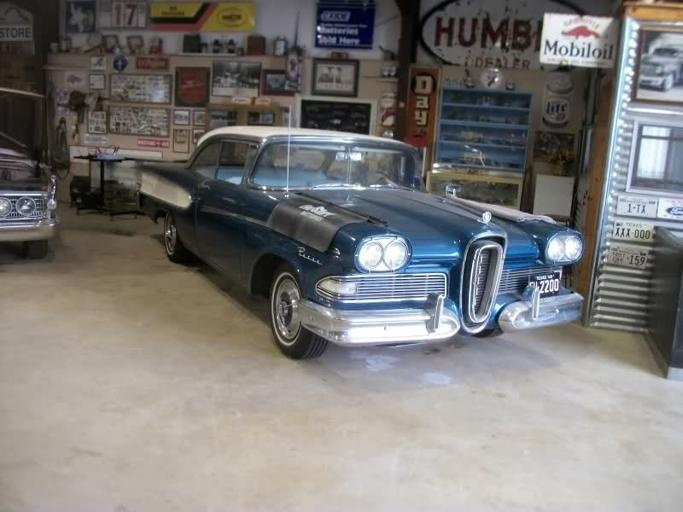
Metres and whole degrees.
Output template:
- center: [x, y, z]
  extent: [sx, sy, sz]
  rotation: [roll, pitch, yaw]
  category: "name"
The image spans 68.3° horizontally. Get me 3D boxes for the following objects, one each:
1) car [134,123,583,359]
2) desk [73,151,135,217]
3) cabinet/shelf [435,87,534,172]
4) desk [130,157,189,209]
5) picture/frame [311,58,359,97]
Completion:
- center: [-0.040, -0.210, 4.260]
  extent: [3.565, 1.622, 1.881]
  rotation: [17, 19, 41]
  category: "car"
- center: [-4.221, -1.315, 9.050]
  extent: [1.142, 1.036, 1.530]
  rotation: [-4, 16, -28]
  category: "desk"
- center: [2.509, -2.184, 8.598]
  extent: [1.207, 1.101, 0.440]
  rotation: [6, 12, 1]
  category: "cabinet/shelf"
- center: [-1.902, -0.760, 5.404]
  extent: [0.699, 0.744, 0.255]
  rotation: [14, 8, 43]
  category: "desk"
- center: [-0.065, -3.244, 9.132]
  extent: [0.653, 0.533, 0.051]
  rotation: [5, 10, 3]
  category: "picture/frame"
